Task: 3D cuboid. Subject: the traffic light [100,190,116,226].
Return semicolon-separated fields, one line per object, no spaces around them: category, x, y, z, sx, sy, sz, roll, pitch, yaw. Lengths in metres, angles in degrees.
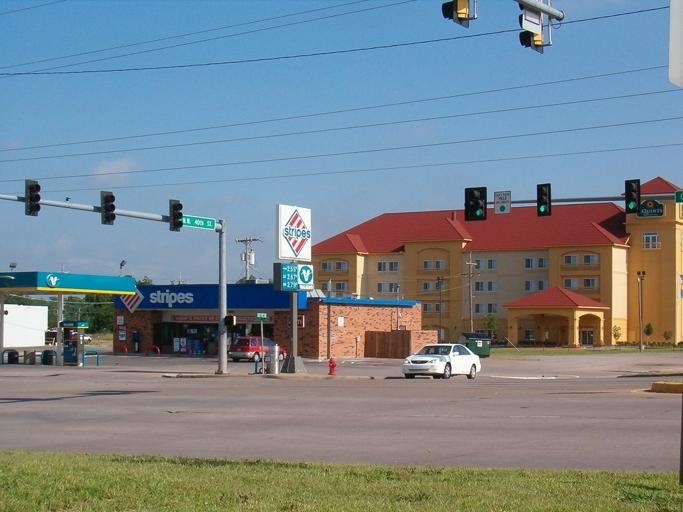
traffic light;-9.100;-1.847;55.439;0.552;1.244;1.008;1;-8;-11

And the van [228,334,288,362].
van;-4.797;5.480;80.237;1.799;1.310;3.142;1;4;44

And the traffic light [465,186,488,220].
traffic light;5.168;-1.986;55.339;0.817;1.111;2.184;-1;-9;3

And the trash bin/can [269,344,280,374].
trash bin/can;-3.100;4.741;65.473;0.434;1.383;0.964;0;-8;-7

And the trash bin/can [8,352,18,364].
trash bin/can;-17.716;5.464;76.972;0.494;0.824;1.757;1;-9;-12

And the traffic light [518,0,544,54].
traffic light;5.726;-7.009;43.797;1.218;1.378;0.552;7;-11;-43

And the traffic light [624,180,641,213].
traffic light;10.980;-2.283;54.122;0.631;1.128;1.438;-2;-9;11

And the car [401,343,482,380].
car;4.510;4.748;64.368;1.476;1.121;3.391;-5;-10;33
